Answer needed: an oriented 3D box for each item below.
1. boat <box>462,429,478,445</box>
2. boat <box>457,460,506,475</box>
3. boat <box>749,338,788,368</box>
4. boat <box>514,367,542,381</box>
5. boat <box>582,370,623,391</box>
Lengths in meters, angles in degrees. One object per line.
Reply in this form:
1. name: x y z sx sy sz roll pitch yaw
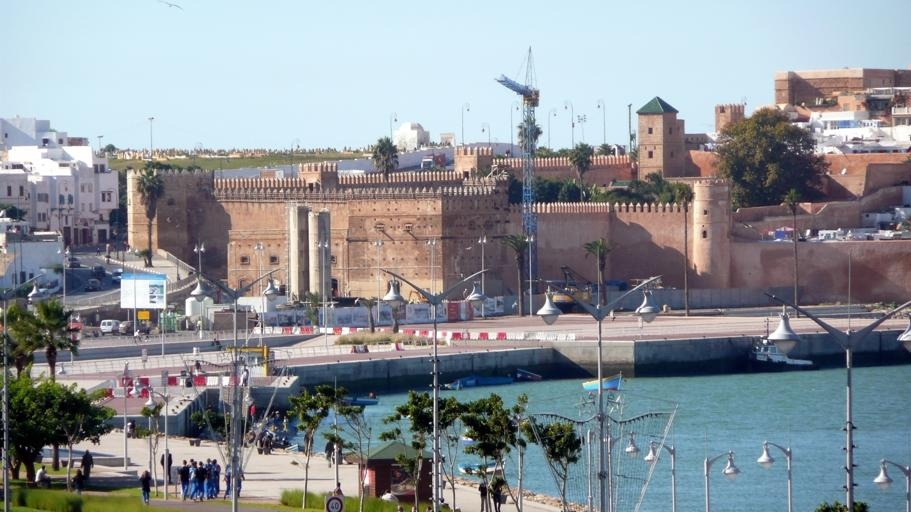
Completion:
1. boat: 0.820 11.583 158.583 1.273 0.509 1.587 1 7 3
2. boat: 1.693 13.370 155.981 3.612 0.797 1.113 -3 14 -11
3. boat: 23.117 7.240 184.347 1.250 1.582 4.168 3 -5 38
4. boat: 5.356 8.638 182.749 2.032 0.948 0.552 -1 -2 -24
5. boat: 10.526 8.803 177.286 3.507 1.261 1.511 -11 -9 38
